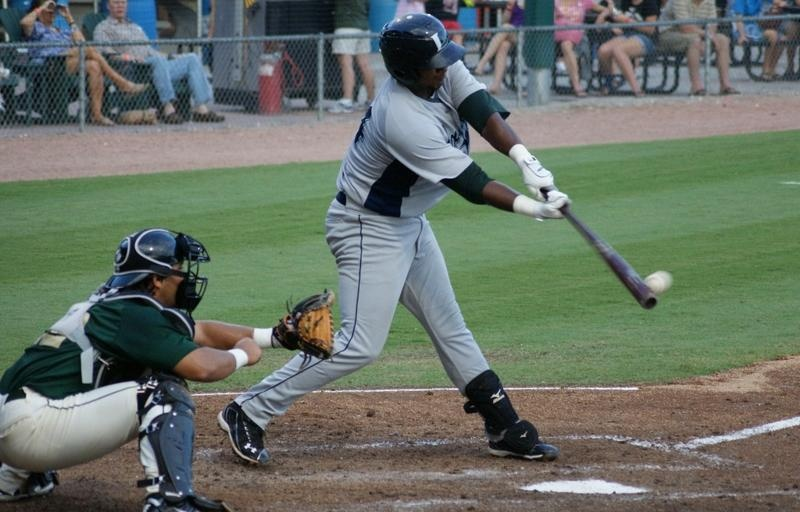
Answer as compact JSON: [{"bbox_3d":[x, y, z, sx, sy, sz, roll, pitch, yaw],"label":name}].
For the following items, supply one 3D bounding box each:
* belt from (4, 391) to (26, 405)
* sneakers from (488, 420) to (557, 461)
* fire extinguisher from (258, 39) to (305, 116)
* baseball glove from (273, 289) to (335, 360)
[{"bbox_3d":[-2.765,1.008,9.805,0.145,0.072,0.083,-25,3,16],"label":"belt"},{"bbox_3d":[0.923,1.430,10.522,0.570,0.229,0.267,1,7,12],"label":"sneakers"},{"bbox_3d":[-1.513,-2.126,16.330,0.392,0.810,0.444,0,1,35],"label":"fire extinguisher"},{"bbox_3d":[-0.701,0.505,10.276,0.406,0.533,0.612,1,1,-23],"label":"baseball glove"}]
